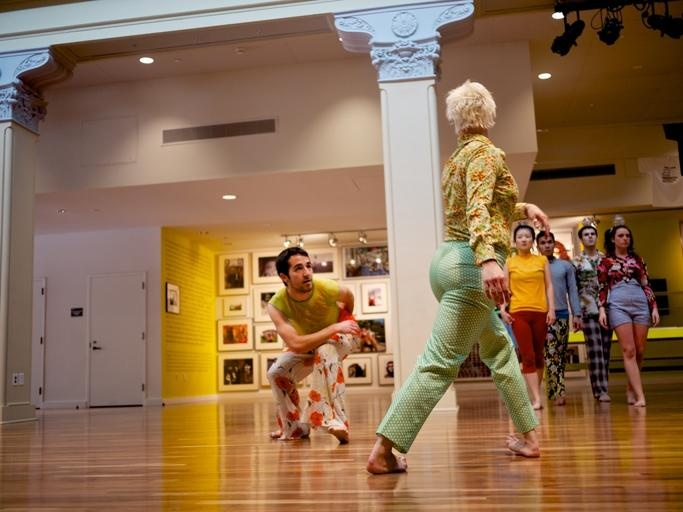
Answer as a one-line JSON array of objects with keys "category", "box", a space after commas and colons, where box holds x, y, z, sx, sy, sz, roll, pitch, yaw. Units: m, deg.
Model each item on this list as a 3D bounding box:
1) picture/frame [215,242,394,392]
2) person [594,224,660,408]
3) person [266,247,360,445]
[{"category": "picture/frame", "box": [-0.470, 0.970, 8.877, 2.933, 2.462, 0.038, -2, -5, 15]}, {"category": "person", "box": [2.593, 0.529, 5.265, 0.381, 1.606, 0.402, 4, -12, -24]}, {"category": "person", "box": [-0.199, 0.607, 4.004, 0.612, 1.307, 0.575, 1, -11, -8]}]
